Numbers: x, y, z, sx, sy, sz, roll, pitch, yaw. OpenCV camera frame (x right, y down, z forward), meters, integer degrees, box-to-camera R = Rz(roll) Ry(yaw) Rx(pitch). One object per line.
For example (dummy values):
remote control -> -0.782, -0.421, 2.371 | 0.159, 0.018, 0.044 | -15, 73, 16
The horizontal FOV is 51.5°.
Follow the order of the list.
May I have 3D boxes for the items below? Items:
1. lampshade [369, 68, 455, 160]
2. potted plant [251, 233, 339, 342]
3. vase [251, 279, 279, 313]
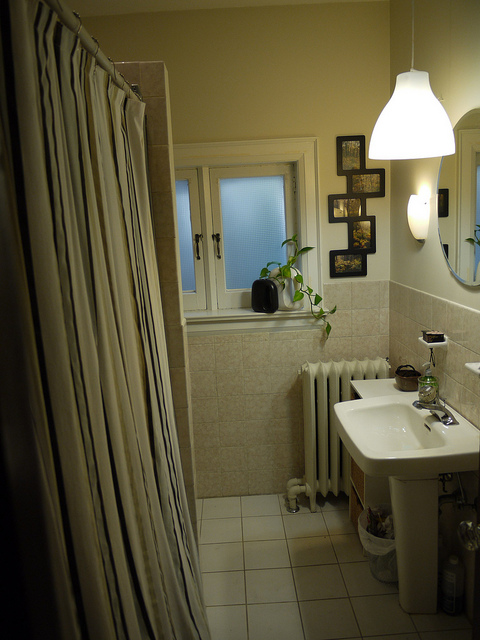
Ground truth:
lampshade -> 0.544, -0.668, 1.640 | 0.170, 0.272, 0.272 | -8, 9, -30
potted plant -> 0.223, -0.187, 2.771 | 0.363, 0.481, 0.226 | 4, -6, 25
vase -> 0.137, -0.133, 2.698 | 0.047, 0.157, 0.119 | -17, 17, -41
